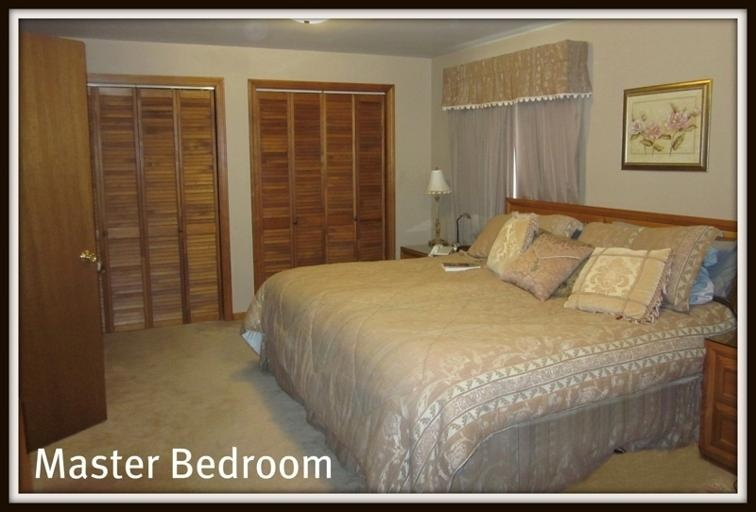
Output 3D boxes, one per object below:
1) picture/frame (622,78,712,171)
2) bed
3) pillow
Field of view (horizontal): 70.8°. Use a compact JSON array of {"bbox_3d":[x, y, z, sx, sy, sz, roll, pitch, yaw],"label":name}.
[{"bbox_3d":[2.130,-0.969,3.974,0.704,0.611,0.035,-6,13,-9],"label":"picture/frame"},{"bbox_3d":[0.593,0.483,3.960,2.606,1.141,2.610,-2,13,-19],"label":"bed"},{"bbox_3d":[1.715,-0.157,3.927,0.730,0.431,1.314,-24,34,-22],"label":"pillow"}]
